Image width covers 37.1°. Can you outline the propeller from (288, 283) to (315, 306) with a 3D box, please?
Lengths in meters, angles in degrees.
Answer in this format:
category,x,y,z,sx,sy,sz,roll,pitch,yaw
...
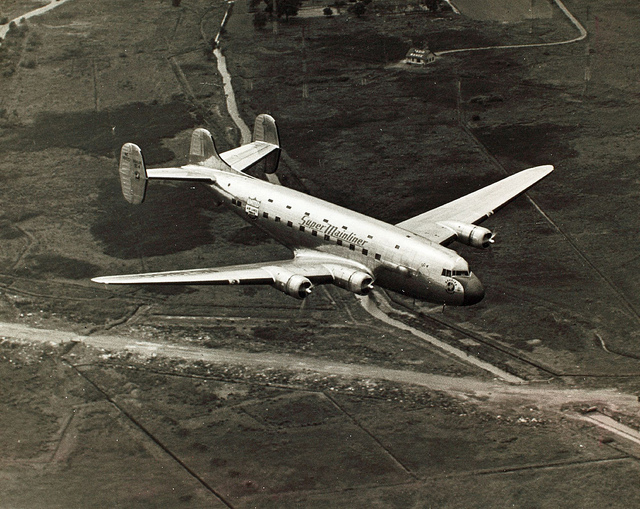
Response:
category,x,y,z,sx,sy,sz,roll,pitch,yaw
propeller,-1.387,3.527,91.478,2.283,1.236,1.413,-22,32,-32

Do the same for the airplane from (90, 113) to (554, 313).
category,x,y,z,sx,sy,sz,roll,pitch,yaw
airplane,1.011,-4.842,97.820,44.878,15.138,27.063,0,25,8
